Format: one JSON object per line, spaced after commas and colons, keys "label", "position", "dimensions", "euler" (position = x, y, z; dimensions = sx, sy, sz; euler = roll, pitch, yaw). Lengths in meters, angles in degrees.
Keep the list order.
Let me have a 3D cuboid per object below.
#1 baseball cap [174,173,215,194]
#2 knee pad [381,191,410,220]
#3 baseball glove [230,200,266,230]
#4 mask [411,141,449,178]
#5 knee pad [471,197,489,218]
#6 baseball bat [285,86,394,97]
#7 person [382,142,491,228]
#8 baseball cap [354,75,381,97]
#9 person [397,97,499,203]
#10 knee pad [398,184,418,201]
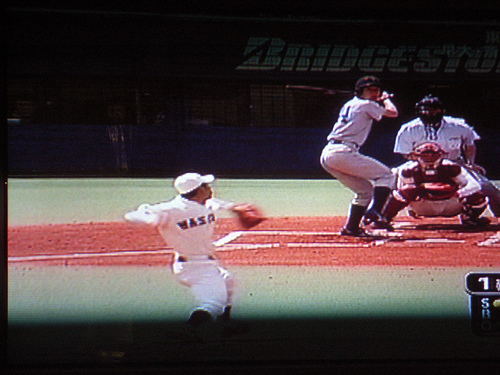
{"label": "baseball cap", "position": [-0.380, -0.028, 5.284], "dimensions": [0.256, 0.059, 0.123], "euler": [-12, 26, -5]}
{"label": "knee pad", "position": [1.067, 0.126, 5.925], "dimensions": [0.141, 0.184, 0.282], "euler": [7, 13, 23]}
{"label": "baseball glove", "position": [-0.007, 0.177, 5.375], "dimensions": [0.292, 0.173, 0.067], "euler": [-5, 13, 5]}
{"label": "mask", "position": [1.351, -0.232, 6.036], "dimensions": [0.391, 0.251, 0.276], "euler": [-2, -24, 7]}
{"label": "knee pad", "position": [1.624, 0.140, 5.656], "dimensions": [0.125, 0.070, 0.165], "euler": [-10, -23, 7]}
{"label": "baseball bat", "position": [0.557, -0.626, 5.205], "dimensions": [0.716, 0.060, 0.040], "euler": [-1, 5, -19]}
{"label": "person", "position": [1.368, 0.064, 6.173], "dimensions": [0.819, 0.261, 0.970], "euler": [-2, 8, 9]}
{"label": "baseball cap", "position": [0.758, -0.666, 5.241], "dimensions": [0.203, 0.094, 0.131], "euler": [10, 0, 7]}
{"label": "person", "position": [1.309, -0.256, 5.522], "dimensions": [0.849, 0.672, 0.303], "euler": [-8, -29, 26]}
{"label": "knee pad", "position": [1.188, 0.033, 6.030], "dimensions": [0.204, 0.092, 0.061], "euler": [0, -34, -10]}
